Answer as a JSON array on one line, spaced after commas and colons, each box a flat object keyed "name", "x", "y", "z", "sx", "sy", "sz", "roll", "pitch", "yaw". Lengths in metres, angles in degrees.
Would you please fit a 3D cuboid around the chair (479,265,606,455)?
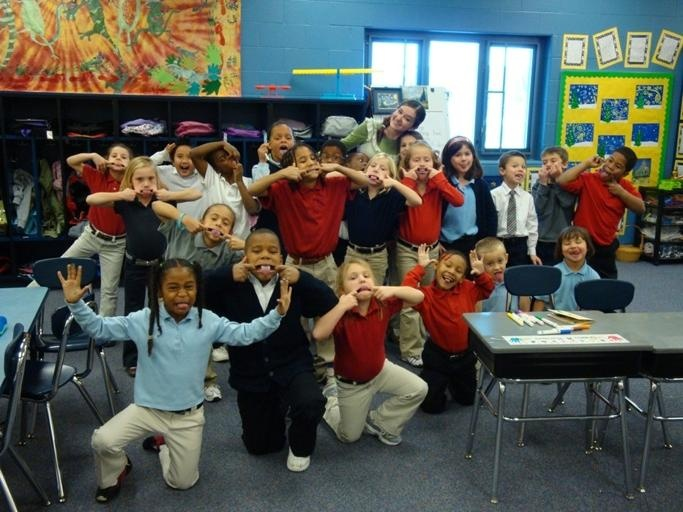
[{"name": "chair", "x": 1.127, "y": 0.644, "z": 3.581, "sx": 0.645, "sy": 1.228, "sz": 0.652, "roll": 1, "pitch": 12, "yaw": 0}]

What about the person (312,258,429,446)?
[{"name": "person", "x": 0.124, "y": 0.604, "z": 3.494, "sx": 0.689, "sy": 1.189, "sz": 0.523, "roll": -4, "pitch": 14, "yaw": -19}]

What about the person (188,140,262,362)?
[{"name": "person", "x": -0.841, "y": -0.328, "z": 4.028, "sx": 0.294, "sy": 0.961, "sz": 0.323, "roll": 3, "pitch": 13, "yaw": -6}]

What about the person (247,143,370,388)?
[{"name": "person", "x": -0.177, "y": 0.057, "z": 3.864, "sx": 0.866, "sy": 1.587, "sz": 0.424, "roll": -4, "pitch": 4, "yaw": -25}]

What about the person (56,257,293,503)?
[{"name": "person", "x": -0.842, "y": 0.593, "z": 2.923, "sx": 0.938, "sy": 1.187, "sz": 0.365, "roll": -7, "pitch": 16, "yaw": -25}]

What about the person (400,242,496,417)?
[{"name": "person", "x": 0.605, "y": 0.472, "z": 3.760, "sx": 0.595, "sy": 1.083, "sz": 0.584, "roll": -1, "pitch": 20, "yaw": -31}]

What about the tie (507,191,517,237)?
[{"name": "tie", "x": 1.374, "y": -0.346, "z": 4.559, "sx": 0.077, "sy": 0.352, "sz": 0.119, "roll": 1, "pitch": 15, "yaw": 5}]

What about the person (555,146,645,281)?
[{"name": "person", "x": 2.128, "y": -0.186, "z": 4.740, "sx": 0.691, "sy": 1.336, "sz": 0.379, "roll": 4, "pitch": 9, "yaw": 8}]

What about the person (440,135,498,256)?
[{"name": "person", "x": 0.995, "y": -0.441, "z": 4.439, "sx": 0.406, "sy": 0.922, "sz": 0.372, "roll": 6, "pitch": 19, "yaw": 5}]

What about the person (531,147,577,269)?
[{"name": "person", "x": 1.798, "y": -0.269, "z": 4.808, "sx": 0.367, "sy": 1.260, "sz": 0.392, "roll": 3, "pitch": 15, "yaw": 33}]

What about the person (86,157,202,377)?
[{"name": "person", "x": -1.344, "y": 0.035, "z": 3.925, "sx": 0.771, "sy": 1.358, "sz": 0.370, "roll": -4, "pitch": 8, "yaw": -34}]

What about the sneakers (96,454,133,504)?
[{"name": "sneakers", "x": -1.161, "y": 1.129, "z": 2.910, "sx": 0.186, "sy": 0.170, "sz": 0.169, "roll": 13, "pitch": 14, "yaw": 6}]

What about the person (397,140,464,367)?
[{"name": "person", "x": 0.567, "y": -0.063, "z": 4.282, "sx": 0.471, "sy": 1.754, "sz": 0.438, "roll": 8, "pitch": 15, "yaw": 2}]

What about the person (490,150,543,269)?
[{"name": "person", "x": 1.381, "y": -0.357, "z": 4.699, "sx": 0.376, "sy": 1.019, "sz": 0.352, "roll": -1, "pitch": 12, "yaw": -7}]

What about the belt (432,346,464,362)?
[{"name": "belt", "x": 0.678, "y": 0.621, "z": 3.648, "sx": 0.145, "sy": 0.045, "sz": 0.105, "roll": 2, "pitch": 4, "yaw": -3}]

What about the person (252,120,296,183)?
[{"name": "person", "x": -0.458, "y": -0.608, "z": 4.298, "sx": 0.291, "sy": 0.759, "sz": 0.261, "roll": -4, "pitch": -2, "yaw": 13}]

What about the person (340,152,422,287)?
[{"name": "person", "x": 0.245, "y": -0.307, "z": 4.179, "sx": 0.527, "sy": 0.973, "sz": 0.483, "roll": 0, "pitch": 15, "yaw": -9}]
